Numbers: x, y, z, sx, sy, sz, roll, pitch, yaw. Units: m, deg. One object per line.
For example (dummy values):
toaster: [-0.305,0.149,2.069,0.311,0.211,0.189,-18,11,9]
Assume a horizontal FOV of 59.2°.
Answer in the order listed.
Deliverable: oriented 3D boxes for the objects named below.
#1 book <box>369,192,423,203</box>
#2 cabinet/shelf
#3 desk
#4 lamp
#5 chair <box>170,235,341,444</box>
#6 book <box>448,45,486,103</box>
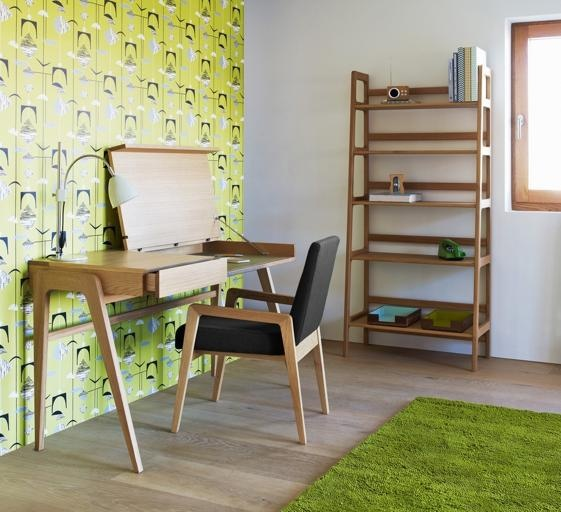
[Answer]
book: [0.814,-0.407,3.512,0.368,0.083,0.313,0,3,15]
cabinet/shelf: [0.932,-0.302,3.504,1.042,2.064,0.462,0,3,22]
desk: [-0.529,0.088,2.589,0.681,1.307,1.421,2,7,17]
lamp: [-0.824,-0.253,2.242,0.402,0.513,0.553,-3,3,-41]
chair: [-0.103,0.363,2.433,0.695,0.818,0.598,2,1,17]
book: [1.176,-1.152,3.157,0.191,0.345,0.045,0,3,28]
